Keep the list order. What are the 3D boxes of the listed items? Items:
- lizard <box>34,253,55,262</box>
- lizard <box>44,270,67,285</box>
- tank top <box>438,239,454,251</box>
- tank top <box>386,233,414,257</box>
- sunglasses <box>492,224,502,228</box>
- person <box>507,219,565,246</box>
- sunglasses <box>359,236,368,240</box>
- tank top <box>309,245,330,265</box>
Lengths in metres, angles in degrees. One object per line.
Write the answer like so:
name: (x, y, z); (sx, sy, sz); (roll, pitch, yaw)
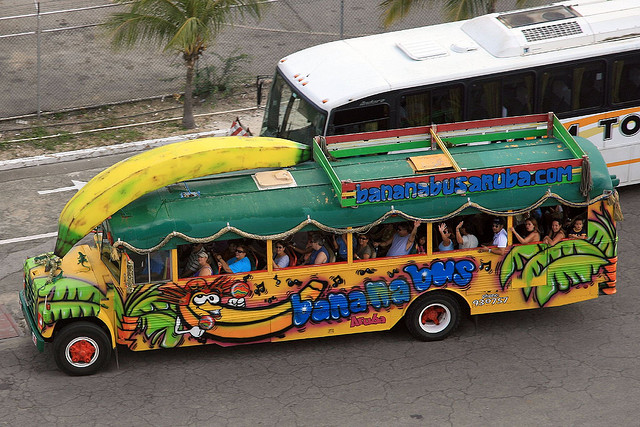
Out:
lizard: (-5.144, 0.826, 18.650); (0.433, 0.110, 0.113); (-11, -13, 23)
lizard: (-4.756, 1.173, 18.055); (0.278, 0.084, 0.192); (-31, 21, -3)
tank top: (2.366, 0.599, 18.805); (0.322, 0.196, 0.264); (-8, 16, -4)
tank top: (1.499, 0.601, 18.686); (0.271, 0.398, 0.349); (11, 14, -37)
sunglasses: (3.283, 0.230, 18.711); (0.147, 0.059, 0.081); (0, 17, 21)
person: (4.074, 0.386, 18.865); (1.163, 0.467, 0.477); (6, -4, -1)
sunglasses: (0.769, 0.458, 18.546); (0.065, 0.045, 0.167); (-21, 21, -40)
tank top: (-0.030, 0.770, 18.553); (0.389, 0.316, 0.273); (-8, 16, 0)
